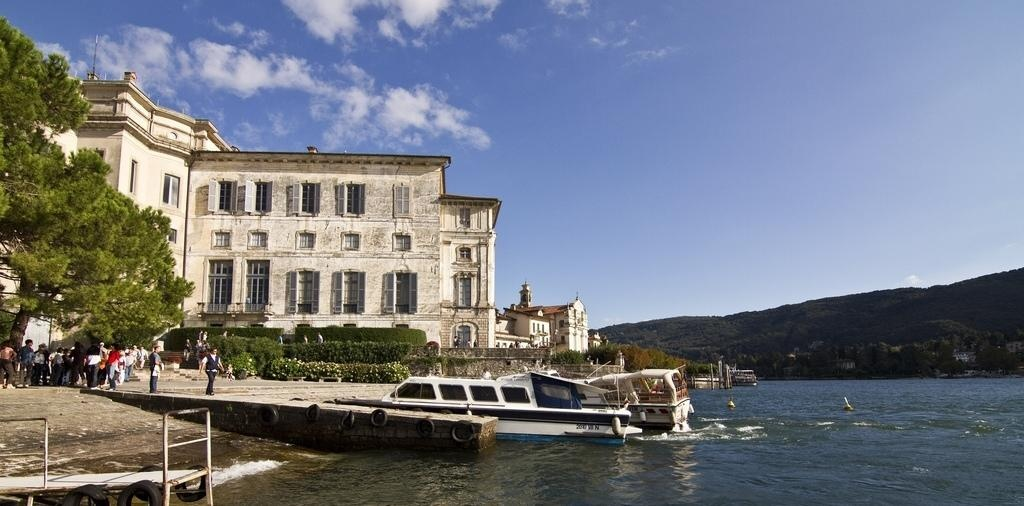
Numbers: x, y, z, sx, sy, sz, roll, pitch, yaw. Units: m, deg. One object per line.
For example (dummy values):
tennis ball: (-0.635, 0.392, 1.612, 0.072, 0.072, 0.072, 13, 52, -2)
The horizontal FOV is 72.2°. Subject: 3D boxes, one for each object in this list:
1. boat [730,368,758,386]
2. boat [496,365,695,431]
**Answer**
boat: (47.750, 25.203, 144.572, 4.759, 2.671, 10.333, 0, -4, 23)
boat: (7.731, 11.702, 55.527, 11.143, 3.573, 5.695, -2, -5, 20)
